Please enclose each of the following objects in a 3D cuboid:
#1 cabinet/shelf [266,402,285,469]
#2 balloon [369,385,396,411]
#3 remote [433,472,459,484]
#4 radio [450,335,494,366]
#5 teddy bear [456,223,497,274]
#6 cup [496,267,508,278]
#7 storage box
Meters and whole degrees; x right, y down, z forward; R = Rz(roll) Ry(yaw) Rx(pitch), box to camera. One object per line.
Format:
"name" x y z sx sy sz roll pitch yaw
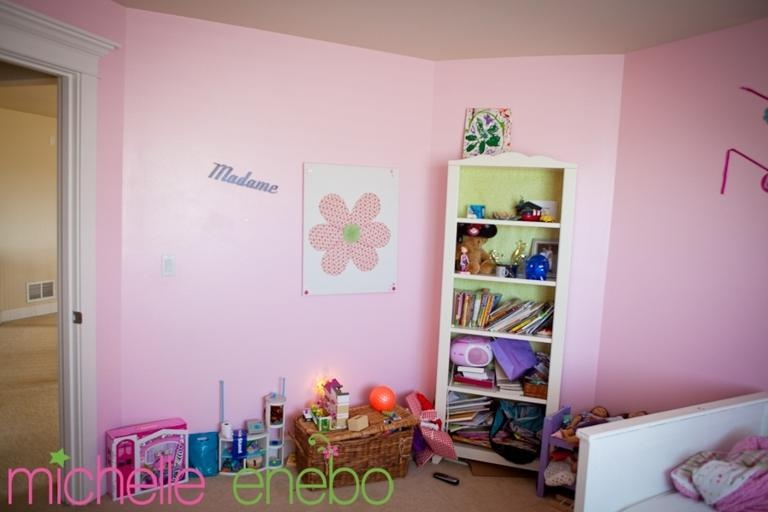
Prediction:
"cabinet/shelf" -0.812 1.298 3.960 0.172 0.507 0.159 0 3 -24
"balloon" -0.010 1.077 4.006 0.187 0.168 0.133 1 3 -2
"remote" 0.457 1.615 3.865 0.118 0.024 0.070 6 4 29
"radio" 0.669 0.726 4.030 0.284 0.204 0.135 3 -19 0
"teddy bear" 0.715 -0.059 4.119 0.374 0.386 0.246 -2 9 -25
"cup" 0.881 0.120 3.961 0.069 0.061 0.084 0 -3 14
"storage box" -1.633 1.391 3.609 0.587 0.472 0.203 -1 0 -31
